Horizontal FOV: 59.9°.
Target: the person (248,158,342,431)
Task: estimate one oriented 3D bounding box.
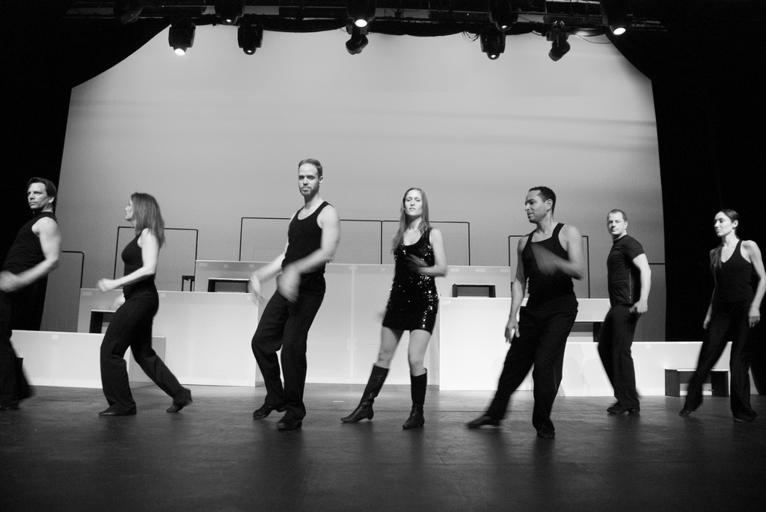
[{"bbox_3d":[-0.763,0.322,5.714,0.738,2.310,0.631,-1,5,-12],"label":"person"}]

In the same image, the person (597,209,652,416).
[{"bbox_3d":[2.476,0.591,6.869,0.484,2.106,0.795,2,5,20],"label":"person"}]

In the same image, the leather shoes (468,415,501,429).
[{"bbox_3d":[0.855,1.414,5.769,0.319,0.132,0.117,2,-2,0],"label":"leather shoes"}]

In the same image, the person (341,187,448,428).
[{"bbox_3d":[0.160,0.448,5.822,0.768,2.079,0.516,0,5,5],"label":"person"}]

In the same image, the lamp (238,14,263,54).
[{"bbox_3d":[-2.144,-3.553,10.690,0.409,0.515,0.342,0,5,-4],"label":"lamp"}]

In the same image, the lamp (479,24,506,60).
[{"bbox_3d":[1.797,-3.537,11.077,0.348,0.473,0.447,1,-3,1],"label":"lamp"}]

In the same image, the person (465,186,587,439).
[{"bbox_3d":[1.291,0.467,5.601,0.764,2.097,0.490,3,6,36],"label":"person"}]

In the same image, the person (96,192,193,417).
[{"bbox_3d":[-2.227,0.450,6.160,0.793,2.070,0.757,0,5,-1],"label":"person"}]

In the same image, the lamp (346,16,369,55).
[{"bbox_3d":[-0.377,-3.424,10.265,0.371,0.356,0.576,2,0,5],"label":"lamp"}]

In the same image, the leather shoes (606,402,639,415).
[{"bbox_3d":[2.369,1.525,6.588,0.341,0.164,0.129,6,-9,0],"label":"leather shoes"}]

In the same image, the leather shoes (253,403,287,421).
[{"bbox_3d":[-0.965,1.370,5.858,0.357,0.160,0.145,0,-7,-10],"label":"leather shoes"}]

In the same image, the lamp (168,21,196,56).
[{"bbox_3d":[-3.222,-3.494,10.628,0.378,0.483,0.405,-2,5,-20],"label":"lamp"}]

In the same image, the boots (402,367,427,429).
[{"bbox_3d":[0.275,1.246,5.832,0.192,0.491,0.495,0,5,5],"label":"boots"}]
